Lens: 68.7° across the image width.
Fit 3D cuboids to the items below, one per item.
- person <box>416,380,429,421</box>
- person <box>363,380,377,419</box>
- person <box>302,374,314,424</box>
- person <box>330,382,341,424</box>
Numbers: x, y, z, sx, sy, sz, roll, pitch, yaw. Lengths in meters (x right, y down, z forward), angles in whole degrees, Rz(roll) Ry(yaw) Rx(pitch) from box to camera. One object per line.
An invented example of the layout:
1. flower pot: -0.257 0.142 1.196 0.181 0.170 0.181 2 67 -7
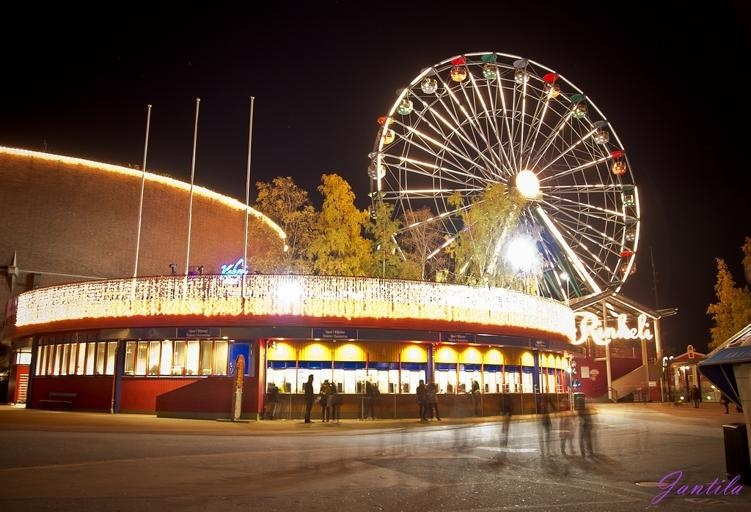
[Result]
1. person: 2.176 6.705 25.604 0.484 1.753 0.867 0 -9 4
2. person: -0.197 6.912 26.369 0.668 1.693 0.434 1 -9 -2
3. person: -2.865 6.203 23.915 0.412 2.026 1.056 2 -9 -7
4. person: -1.854 6.688 25.250 0.481 1.667 1.578 2 -10 -4
